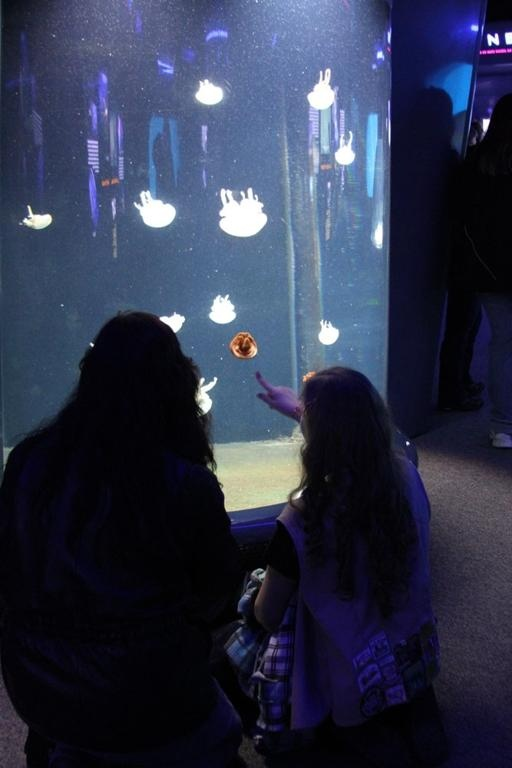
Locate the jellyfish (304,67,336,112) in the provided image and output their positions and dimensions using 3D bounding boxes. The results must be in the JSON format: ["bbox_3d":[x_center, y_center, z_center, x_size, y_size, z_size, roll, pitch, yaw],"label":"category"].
[{"bbox_3d":[0.224,-0.991,2.013,0.120,0.149,0.031,-8,11,-41],"label":"jellyfish"}]

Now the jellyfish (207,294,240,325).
[{"bbox_3d":[-0.114,-0.252,2.008,0.076,0.106,0.008,-5,19,-11],"label":"jellyfish"}]

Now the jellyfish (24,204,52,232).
[{"bbox_3d":[-0.668,-0.500,1.828,0.076,0.074,0.063,-11,33,-24],"label":"jellyfish"}]

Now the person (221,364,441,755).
[{"bbox_3d":[0.227,0.390,1.324,0.390,0.822,0.408,25,19,32],"label":"person"}]

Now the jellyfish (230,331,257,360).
[{"bbox_3d":[-0.039,-0.126,2.055,0.067,0.104,0.038,-5,-1,-10],"label":"jellyfish"}]
